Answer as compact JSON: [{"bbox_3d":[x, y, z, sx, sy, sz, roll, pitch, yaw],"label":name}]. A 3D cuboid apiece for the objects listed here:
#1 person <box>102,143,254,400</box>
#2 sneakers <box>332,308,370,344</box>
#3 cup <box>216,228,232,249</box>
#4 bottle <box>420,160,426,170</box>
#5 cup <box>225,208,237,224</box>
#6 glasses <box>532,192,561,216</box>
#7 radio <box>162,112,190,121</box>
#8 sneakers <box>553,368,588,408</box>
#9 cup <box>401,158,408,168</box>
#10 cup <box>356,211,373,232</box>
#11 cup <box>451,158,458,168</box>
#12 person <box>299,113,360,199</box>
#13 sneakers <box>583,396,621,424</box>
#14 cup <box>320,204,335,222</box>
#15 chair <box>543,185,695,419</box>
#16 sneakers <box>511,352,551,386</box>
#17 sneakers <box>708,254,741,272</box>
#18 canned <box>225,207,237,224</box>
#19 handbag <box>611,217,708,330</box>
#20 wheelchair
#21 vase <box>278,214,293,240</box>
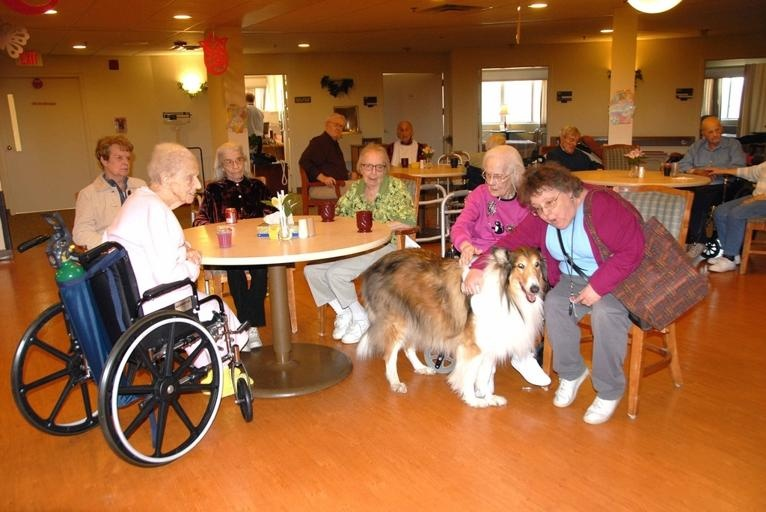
[{"bbox_3d":[-1.288,0.060,3.506,0.983,1.505,0.706,-5,13,-36],"label":"person"},{"bbox_3d":[-0.262,0.566,4.615,0.215,0.153,0.377,13,39,23],"label":"sneakers"},{"bbox_3d":[-1.048,-0.127,3.609,0.122,0.138,0.124,-2,7,0],"label":"cup"},{"bbox_3d":[0.549,-1.283,7.465,0.080,0.199,0.231,1,10,10],"label":"bottle"},{"bbox_3d":[-1.193,-0.321,4.287,0.120,0.137,0.119,0,14,0],"label":"cup"},{"bbox_3d":[0.970,-0.321,3.210,0.125,0.050,0.133,-23,7,44],"label":"glasses"},{"bbox_3d":[-4.656,-3.183,12.139,0.594,0.184,0.115,-4,14,-11],"label":"radio"},{"bbox_3d":[1.257,0.880,3.603,0.249,0.099,0.088,-51,35,-4],"label":"sneakers"},{"bbox_3d":[0.305,-1.351,7.697,0.123,0.138,0.122,0,13,0],"label":"cup"},{"bbox_3d":[-0.136,-0.253,3.852,0.109,0.155,0.105,-1,14,0],"label":"cup"},{"bbox_3d":[0.969,-1.276,7.322,0.097,0.105,0.100,-3,19,1],"label":"cup"},{"bbox_3d":[-0.783,-1.353,7.846,0.701,1.352,0.784,8,15,23],"label":"person"},{"bbox_3d":[1.368,0.977,3.399,0.269,0.112,0.115,-24,29,-19],"label":"sneakers"},{"bbox_3d":[-0.419,-0.354,4.287,0.131,0.147,0.129,-2,4,0],"label":"cup"},{"bbox_3d":[1.711,0.254,3.815,0.825,1.416,0.845,-16,18,-23],"label":"chair"},{"bbox_3d":[1.051,0.796,3.811,0.330,0.139,0.138,28,53,34],"label":"sneakers"},{"bbox_3d":[3.735,0.071,5.911,0.289,0.158,0.280,7,16,30],"label":"sneakers"},{"bbox_3d":[-1.194,-0.323,4.292,0.126,0.145,0.125,-5,14,-23],"label":"canned"},{"bbox_3d":[1.679,0.151,3.245,0.562,0.566,0.218,-36,-2,-18],"label":"handbag"},{"bbox_3d":[-1.487,0.490,3.345,0.934,1.337,1.208,4,10,33],"label":"wheelchair"},{"bbox_3d":[-0.696,-0.227,3.837,0.102,0.173,0.214,-4,14,-10],"label":"vase"}]
